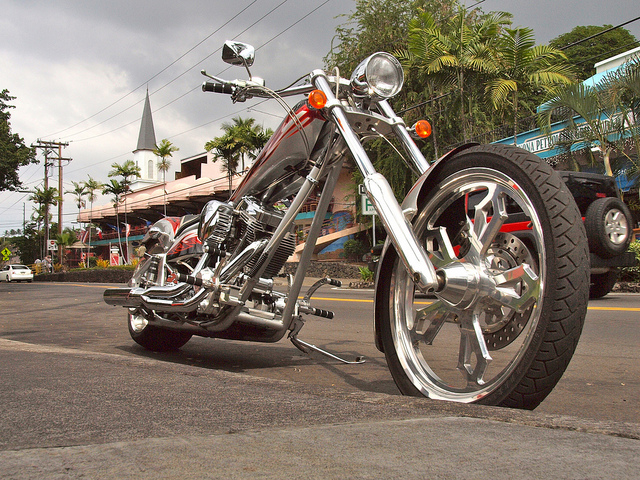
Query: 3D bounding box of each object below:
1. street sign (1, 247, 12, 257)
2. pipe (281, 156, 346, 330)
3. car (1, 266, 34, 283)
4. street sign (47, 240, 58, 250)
[{"bbox_3d":[-30.296,1.155,48.566,0.491,0.851,1.527,1,-2,-35],"label":"street sign"},{"bbox_3d":[-0.059,0.011,3.655,0.340,1.198,0.390,1,2,-33],"label":"pipe"},{"bbox_3d":[-23.625,2.602,39.240,2.767,1.153,1.422,-1,-2,42],"label":"car"},{"bbox_3d":[-27.942,0.413,52.280,0.693,0.996,2.680,1,-2,-27],"label":"street sign"}]
